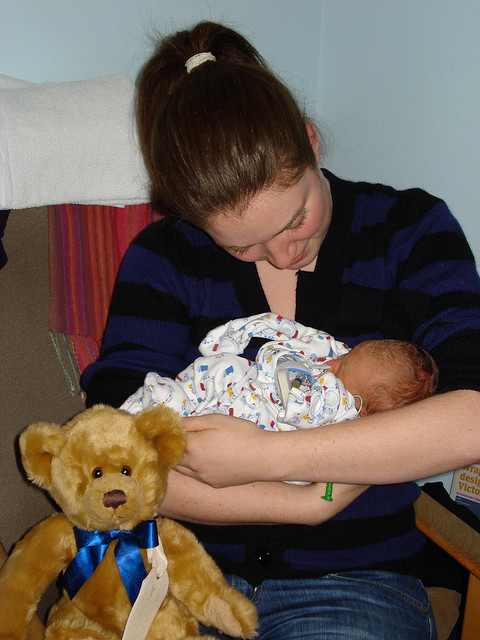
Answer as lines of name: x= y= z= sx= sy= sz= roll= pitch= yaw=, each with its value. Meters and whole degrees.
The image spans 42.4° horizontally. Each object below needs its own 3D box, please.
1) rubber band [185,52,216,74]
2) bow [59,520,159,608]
rubber band: x=-0.069 y=-0.450 z=1.081 sx=0.055 sy=0.027 sz=0.066 roll=-2 pitch=34 yaw=-3
bow: x=-0.189 y=0.336 z=0.883 sx=0.127 sy=0.036 sz=0.106 roll=-6 pitch=80 yaw=0
